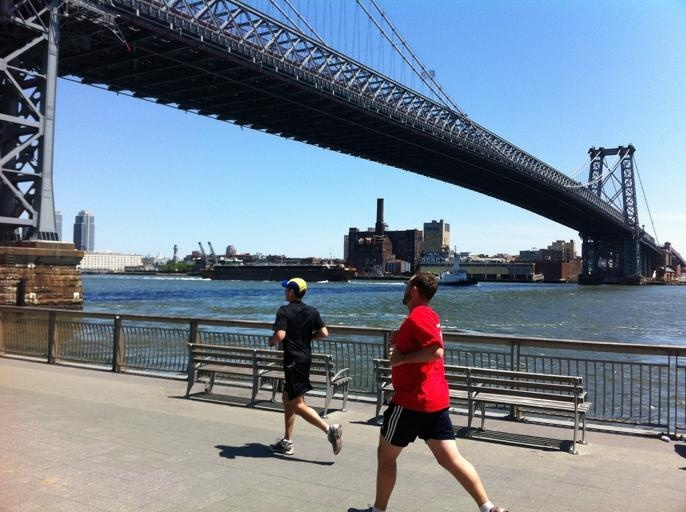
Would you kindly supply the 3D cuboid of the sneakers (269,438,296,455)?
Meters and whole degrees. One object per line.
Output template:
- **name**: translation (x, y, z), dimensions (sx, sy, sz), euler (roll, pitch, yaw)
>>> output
- **sneakers**: translation (-0.647, 2.067, 6.547), dimensions (0.305, 0.146, 0.113), euler (2, -6, 8)

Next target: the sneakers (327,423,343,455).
- **sneakers**: translation (-0.090, 1.897, 6.334), dimensions (0.178, 0.386, 0.144), euler (-3, 10, 16)

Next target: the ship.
- **ship**: translation (-16.208, 4.013, 135.079), dimensions (40.785, 3.428, 7.739), euler (2, -2, 40)

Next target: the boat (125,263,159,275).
- **boat**: translation (-95.927, 6.957, 285.369), dimensions (12.099, 5.849, 17.578), euler (3, -2, -39)

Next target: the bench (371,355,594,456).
- **bench**: translation (1.703, 1.817, 7.606), dimensions (2.527, 0.882, 0.757), euler (1, -3, 25)

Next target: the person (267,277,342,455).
- **person**: translation (-0.440, 1.204, 6.739), dimensions (0.761, 1.889, 1.078), euler (3, -2, -4)

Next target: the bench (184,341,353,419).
- **bench**: translation (-1.146, 1.747, 8.773), dimensions (2.298, 0.773, 0.740), euler (1, -6, 21)

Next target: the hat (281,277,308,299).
- **hat**: translation (-0.569, 0.351, 6.721), dimensions (0.305, 0.172, 0.214), euler (30, 20, 29)
